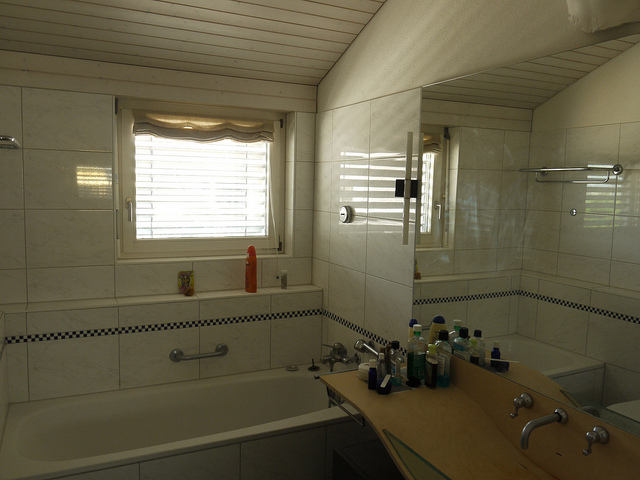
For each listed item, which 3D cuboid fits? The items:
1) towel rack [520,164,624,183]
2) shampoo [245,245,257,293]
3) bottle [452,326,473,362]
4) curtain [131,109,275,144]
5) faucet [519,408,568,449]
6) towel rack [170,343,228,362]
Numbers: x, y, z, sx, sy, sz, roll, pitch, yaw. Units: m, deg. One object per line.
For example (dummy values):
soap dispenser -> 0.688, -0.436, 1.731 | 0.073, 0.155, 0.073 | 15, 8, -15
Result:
towel rack -> 1.075, -0.284, 2.185 | 0.009, 0.083, 0.436 | -4, 5, -38
shampoo -> -0.526, 0.215, 3.850 | 0.097, 0.351, 0.138 | -2, 4, -8
bottle -> 0.743, 0.526, 2.617 | 0.031, 0.163, 0.134 | -3, 4, -32
curtain -> -0.852, -0.849, 3.805 | 1.048, 0.231, 0.086 | -3, 4, -24
faucet -> 0.900, 0.795, 2.094 | 0.284, 0.154, 0.093 | -3, 4, -30
towel rack -> -0.852, 0.809, 3.601 | 0.410, 0.096, 0.072 | -3, 4, -26
